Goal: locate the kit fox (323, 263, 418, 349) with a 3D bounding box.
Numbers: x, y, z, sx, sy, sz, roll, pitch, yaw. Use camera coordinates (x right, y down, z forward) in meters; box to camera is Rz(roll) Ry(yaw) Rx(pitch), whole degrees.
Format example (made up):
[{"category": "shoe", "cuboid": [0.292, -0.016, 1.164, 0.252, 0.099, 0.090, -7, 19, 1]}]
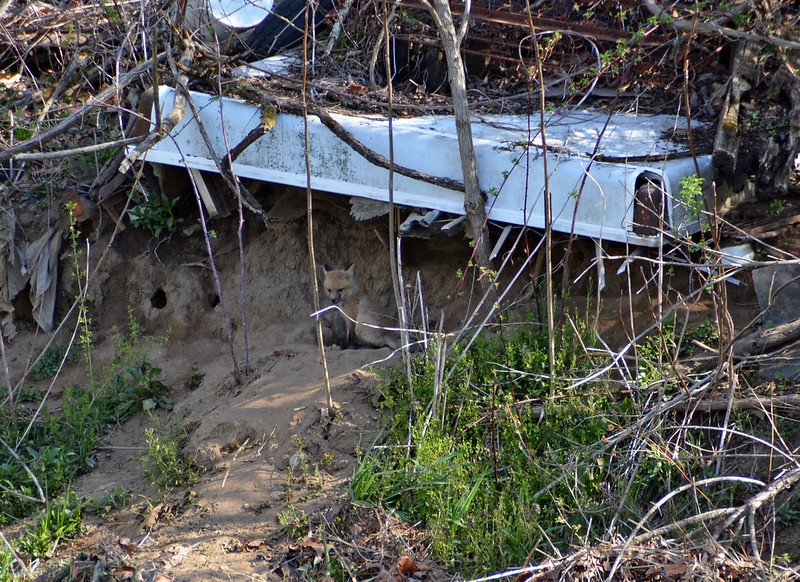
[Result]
[{"category": "kit fox", "cuboid": [-0.459, 0.222, 10.686, 0.497, 1.058, 1.431, 6, 1, 33]}]
